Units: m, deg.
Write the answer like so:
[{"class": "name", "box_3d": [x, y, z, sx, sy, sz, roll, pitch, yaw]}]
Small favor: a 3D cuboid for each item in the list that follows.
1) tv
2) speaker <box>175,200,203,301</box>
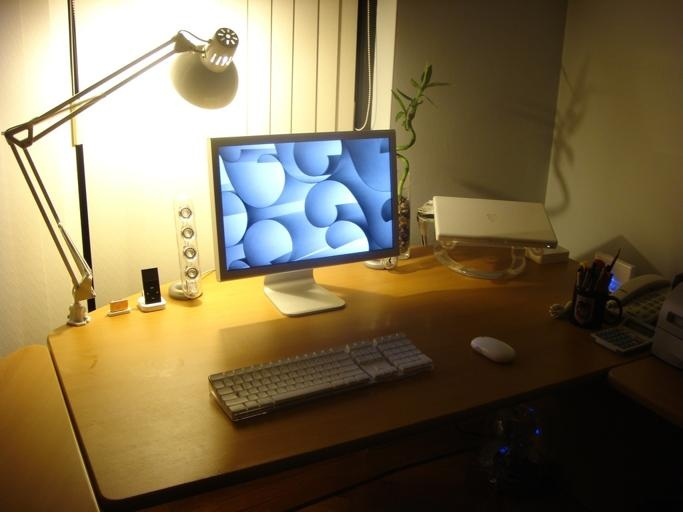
[{"class": "tv", "box_3d": [-0.130, -0.159, 1.768, 0.649, 0.592, 0.133, -10, 27, -32]}, {"class": "speaker", "box_3d": [-0.515, -0.022, 1.815, 0.067, 0.290, 0.098, 0, 22, -5]}]
